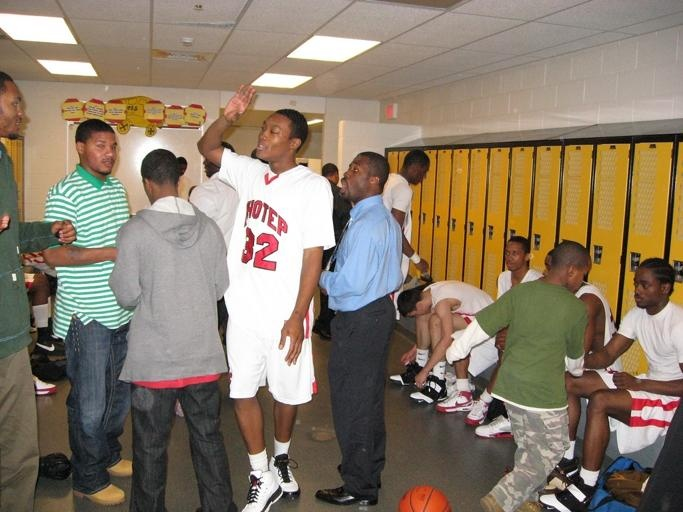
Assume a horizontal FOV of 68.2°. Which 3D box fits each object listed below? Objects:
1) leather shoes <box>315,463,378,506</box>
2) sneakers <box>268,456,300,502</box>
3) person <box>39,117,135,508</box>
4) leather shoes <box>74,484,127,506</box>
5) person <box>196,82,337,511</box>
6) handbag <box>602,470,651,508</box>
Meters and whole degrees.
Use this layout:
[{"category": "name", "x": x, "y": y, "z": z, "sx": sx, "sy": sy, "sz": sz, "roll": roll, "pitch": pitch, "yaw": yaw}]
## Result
[{"category": "leather shoes", "x": 0.044, "y": 1.415, "z": 3.142, "sx": 0.368, "sy": 0.214, "sz": 0.136, "roll": 6, "pitch": -5, "yaw": 6}, {"category": "sneakers", "x": -0.349, "y": 1.329, "z": 3.116, "sx": 0.133, "sy": 0.179, "sz": 0.348, "roll": 5, "pitch": 9, "yaw": -26}, {"category": "person", "x": -1.416, "y": 0.341, "z": 2.870, "sx": 0.430, "sy": 2.204, "sz": 0.615, "roll": -2, "pitch": 12, "yaw": -22}, {"category": "leather shoes", "x": -1.425, "y": 1.403, "z": 3.018, "sx": 0.301, "sy": 0.115, "sz": 0.115, "roll": 1, "pitch": 19, "yaw": 4}, {"category": "person", "x": -0.440, "y": 0.254, "z": 2.941, "sx": 0.574, "sy": 2.412, "sz": 0.741, "roll": -7, "pitch": 15, "yaw": -41}, {"category": "handbag", "x": 1.705, "y": 1.359, "z": 3.032, "sx": 0.191, "sy": 0.124, "sz": 0.256, "roll": 11, "pitch": 13, "yaw": 40}]
